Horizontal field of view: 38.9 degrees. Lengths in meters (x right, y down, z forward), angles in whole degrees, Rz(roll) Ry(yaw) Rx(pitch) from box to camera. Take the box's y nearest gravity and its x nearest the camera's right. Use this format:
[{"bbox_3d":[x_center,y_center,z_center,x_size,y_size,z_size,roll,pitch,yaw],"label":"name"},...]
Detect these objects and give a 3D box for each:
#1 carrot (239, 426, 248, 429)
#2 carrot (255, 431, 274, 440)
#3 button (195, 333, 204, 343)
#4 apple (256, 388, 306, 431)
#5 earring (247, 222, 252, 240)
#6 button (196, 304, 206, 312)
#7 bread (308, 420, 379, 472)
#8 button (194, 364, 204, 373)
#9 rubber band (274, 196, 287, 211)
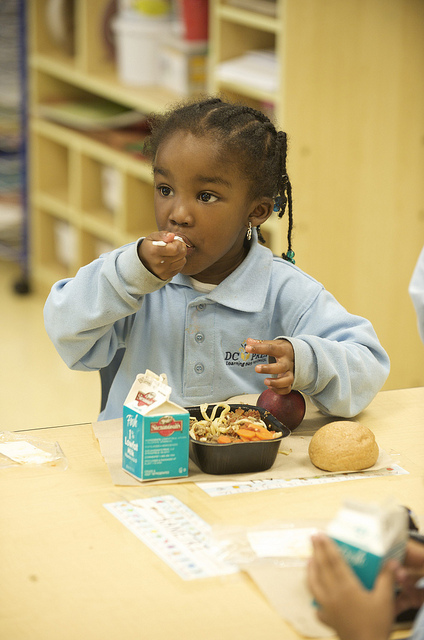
[{"bbox_3d":[0.044,0.154,0.855,0.010,0.001,0.011,2,9,-2],"label":"carrot"},{"bbox_3d":[0.072,0.160,0.829,0.027,0.004,0.027,3,9,9],"label":"carrot"},{"bbox_3d":[-0.023,0.033,1.089,0.020,0.017,0.005,-2,0,-2],"label":"button"},{"bbox_3d":[0.115,0.150,0.982,0.073,0.077,0.072,-14,-22,43],"label":"apple"},{"bbox_3d":[0.072,-0.173,1.165,0.008,0.033,0.022,3,10,2],"label":"earring"},{"bbox_3d":[-0.020,-0.023,1.094,0.015,0.013,0.005,-5,13,-11],"label":"button"},{"bbox_3d":[0.184,0.173,0.850,0.079,0.040,0.070,-3,13,-12],"label":"bread"},{"bbox_3d":[-0.024,0.088,1.088,0.020,0.017,0.005,-4,0,-4],"label":"button"},{"bbox_3d":[0.140,-0.236,1.220,0.031,0.027,0.012,4,6,27],"label":"rubber band"}]
